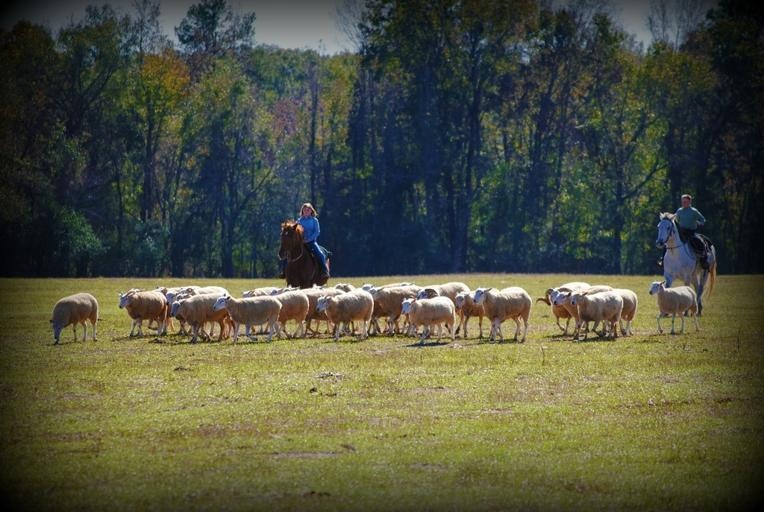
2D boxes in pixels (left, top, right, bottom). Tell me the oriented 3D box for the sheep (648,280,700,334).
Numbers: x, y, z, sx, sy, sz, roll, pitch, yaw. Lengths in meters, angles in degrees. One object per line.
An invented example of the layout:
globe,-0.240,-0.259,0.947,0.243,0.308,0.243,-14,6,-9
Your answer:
sheep,14.270,2.579,62.302,1.338,2.503,4.206,-5,-4,43

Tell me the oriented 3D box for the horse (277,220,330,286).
horse,-5.049,-0.271,66.268,1.935,3.587,3.272,1,-1,12

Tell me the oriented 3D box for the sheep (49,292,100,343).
sheep,-14.775,3.011,61.015,2.095,2.441,1.675,2,-3,-24
